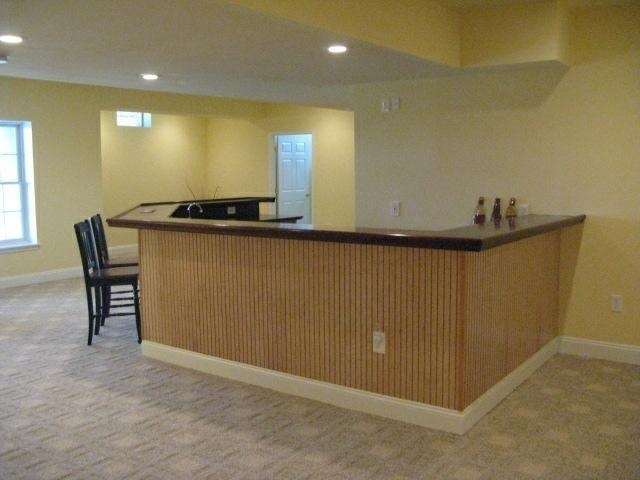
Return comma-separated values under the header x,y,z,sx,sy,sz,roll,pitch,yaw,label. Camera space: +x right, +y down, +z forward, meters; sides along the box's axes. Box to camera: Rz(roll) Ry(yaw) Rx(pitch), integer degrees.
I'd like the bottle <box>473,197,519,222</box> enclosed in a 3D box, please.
x,y,z,sx,sy,sz,roll,pitch,yaw,label
1.508,-0.258,4.243,0.222,0.195,0.089,2,6,18,bottle

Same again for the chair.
x,y,z,sx,sy,sz,roll,pitch,yaw,label
-2.115,0.322,5.061,0.504,1.148,1.717,-5,10,-22,chair
